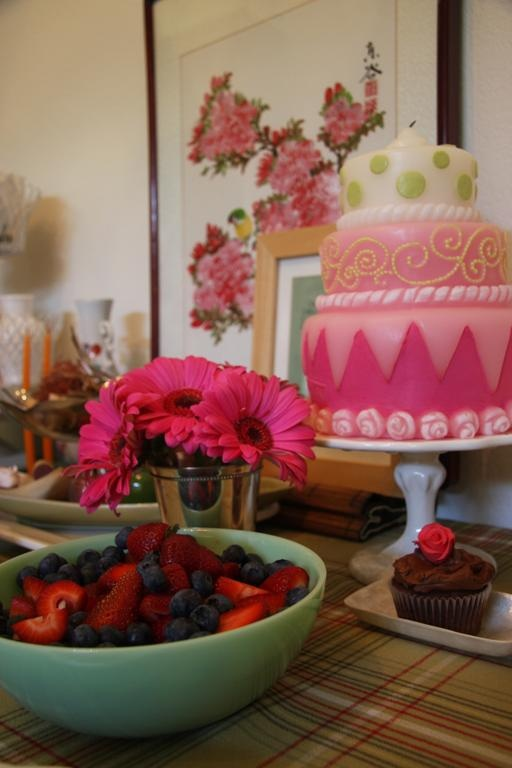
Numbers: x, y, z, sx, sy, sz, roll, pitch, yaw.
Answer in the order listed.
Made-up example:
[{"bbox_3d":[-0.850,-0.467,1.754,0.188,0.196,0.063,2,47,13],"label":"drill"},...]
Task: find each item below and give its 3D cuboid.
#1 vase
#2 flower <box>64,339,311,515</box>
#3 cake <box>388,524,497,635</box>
[{"bbox_3d":[-0.044,0.115,0.718,0.106,0.065,0.083,-7,12,-16],"label":"vase"},{"bbox_3d":[-0.063,0.041,0.676,0.239,0.131,0.218,1,7,1],"label":"flower"},{"bbox_3d":[0.163,0.173,0.641,0.104,0.092,0.099,1,-1,-17],"label":"cake"}]
